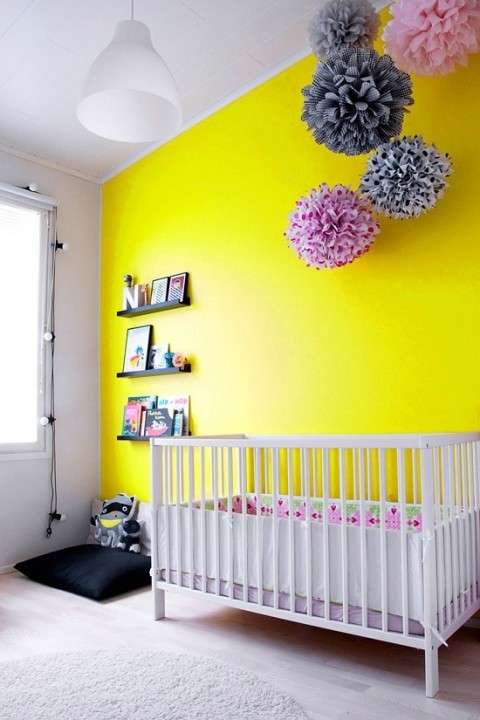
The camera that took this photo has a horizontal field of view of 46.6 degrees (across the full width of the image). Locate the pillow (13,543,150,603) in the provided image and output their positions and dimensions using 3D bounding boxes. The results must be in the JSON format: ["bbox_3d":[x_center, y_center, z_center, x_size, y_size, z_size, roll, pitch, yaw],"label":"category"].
[{"bbox_3d":[-0.701,1.004,2.683,0.706,0.124,0.381,-10,-13,43],"label":"pillow"}]

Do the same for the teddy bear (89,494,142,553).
[{"bbox_3d":[-0.639,0.890,3.003,0.109,0.311,0.230,24,-20,-40],"label":"teddy bear"}]

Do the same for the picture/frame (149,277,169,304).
[{"bbox_3d":[-0.438,-0.383,3.066,0.019,0.184,0.164,6,-8,-38],"label":"picture/frame"}]

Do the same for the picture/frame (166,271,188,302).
[{"bbox_3d":[-0.325,-0.385,2.953,0.158,0.190,0.019,-7,-12,43],"label":"picture/frame"}]

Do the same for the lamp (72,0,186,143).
[{"bbox_3d":[-0.331,-0.890,1.726,0.320,0.351,0.248,2,-10,-17],"label":"lamp"}]

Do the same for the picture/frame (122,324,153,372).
[{"bbox_3d":[-0.577,-0.065,3.189,0.028,0.296,0.249,13,-14,-40],"label":"picture/frame"}]
